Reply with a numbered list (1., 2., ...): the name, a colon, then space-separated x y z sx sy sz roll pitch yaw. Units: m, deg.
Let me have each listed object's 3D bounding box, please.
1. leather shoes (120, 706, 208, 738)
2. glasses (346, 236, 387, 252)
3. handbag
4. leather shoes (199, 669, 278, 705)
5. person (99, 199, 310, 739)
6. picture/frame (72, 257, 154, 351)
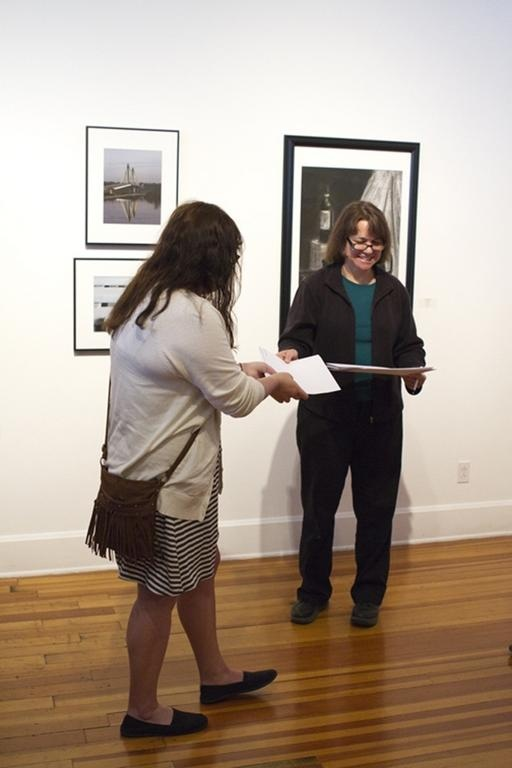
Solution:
1. leather shoes: -0.245 0.872 1.748 0.228 0.070 0.082 2 -9 -13
2. glasses: 0.409 -0.510 2.414 0.138 0.050 0.054 0 2 -11
3. handbag: -0.303 0.298 1.540 0.189 0.201 0.119 10 9 35
4. leather shoes: -0.059 0.865 1.958 0.224 0.064 0.083 -10 -8 -21
5. person: -0.161 0.251 1.649 0.380 1.364 0.498 1 2 22
6. picture/frame: -0.636 -0.362 2.959 0.345 0.386 0.016 0 5 -1
